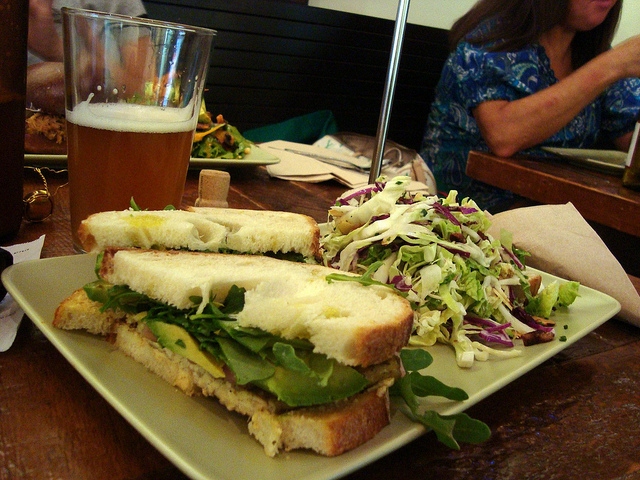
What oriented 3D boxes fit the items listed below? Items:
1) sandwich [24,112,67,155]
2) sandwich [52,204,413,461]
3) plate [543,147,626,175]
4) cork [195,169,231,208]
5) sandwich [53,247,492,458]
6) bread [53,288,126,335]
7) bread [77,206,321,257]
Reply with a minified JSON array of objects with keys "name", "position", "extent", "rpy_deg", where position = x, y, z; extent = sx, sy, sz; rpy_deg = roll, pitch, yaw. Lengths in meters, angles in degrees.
[{"name":"sandwich","position":[-0.699,-0.270,1.194],"extent":[0.086,0.139,0.114],"rpy_deg":[0,13,-12]},{"name":"sandwich","position":[-0.109,0.162,0.663],"extent":[0.393,0.133,0.387],"rpy_deg":[0,21,-19]},{"name":"plate","position":[1.260,-0.399,2.253],"extent":[0.343,0.067,0.359],"rpy_deg":[22,26,26]},{"name":"cork","position":[-0.241,-0.111,1.064],"extent":[0.079,0.087,0.078],"rpy_deg":[13,21,12]},{"name":"sandwich","position":[-0.091,0.131,0.721],"extent":[0.616,0.174,0.351],"rpy_deg":[12,13,20]},{"name":"bread","position":[-0.333,0.106,0.713],"extent":[0.100,0.027,0.111],"rpy_deg":[15,6,2]},{"name":"bread","position":[-0.229,-0.013,0.892],"extent":[0.424,0.086,0.247],"rpy_deg":[1,8,-23]}]
